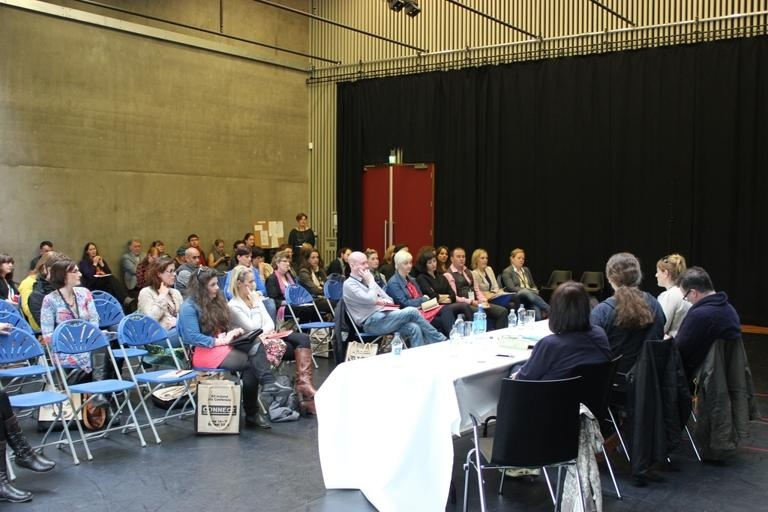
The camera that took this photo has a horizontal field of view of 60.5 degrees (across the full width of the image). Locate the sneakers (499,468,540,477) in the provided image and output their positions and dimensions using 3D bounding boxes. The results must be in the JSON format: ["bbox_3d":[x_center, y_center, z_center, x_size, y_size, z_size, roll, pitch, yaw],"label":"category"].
[{"bbox_3d":[1.333,2.104,6.396,0.290,0.124,0.208,-2,-11,5],"label":"sneakers"}]

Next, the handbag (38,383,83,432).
[{"bbox_3d":[-3.502,1.649,7.025,0.553,0.153,0.577,5,26,-16],"label":"handbag"}]

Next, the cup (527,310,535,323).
[{"bbox_3d":[1.760,0.729,7.894,0.123,0.160,0.135,0,3,0],"label":"cup"}]

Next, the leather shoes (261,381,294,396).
[{"bbox_3d":[-1.215,1.506,7.503,0.324,0.161,0.131,-2,-5,-4],"label":"leather shoes"}]

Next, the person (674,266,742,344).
[{"bbox_3d":[3.347,0.514,6.863,0.867,0.825,0.587,-14,6,-37],"label":"person"}]

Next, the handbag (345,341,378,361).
[{"bbox_3d":[-0.277,1.152,7.937,0.240,0.243,0.100,-1,-19,1],"label":"handbag"}]

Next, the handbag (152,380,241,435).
[{"bbox_3d":[-1.864,1.660,7.171,0.602,0.668,0.492,0,-7,-6],"label":"handbag"}]

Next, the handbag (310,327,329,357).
[{"bbox_3d":[-0.997,1.353,10.383,0.333,0.425,0.362,0,-7,1],"label":"handbag"}]

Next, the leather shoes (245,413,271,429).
[{"bbox_3d":[-1.420,1.851,7.426,0.326,0.162,0.124,-5,-6,38],"label":"leather shoes"}]

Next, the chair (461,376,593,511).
[{"bbox_3d":[1.167,1.615,5.948,0.990,1.743,1.112,1,2,-7],"label":"chair"}]
